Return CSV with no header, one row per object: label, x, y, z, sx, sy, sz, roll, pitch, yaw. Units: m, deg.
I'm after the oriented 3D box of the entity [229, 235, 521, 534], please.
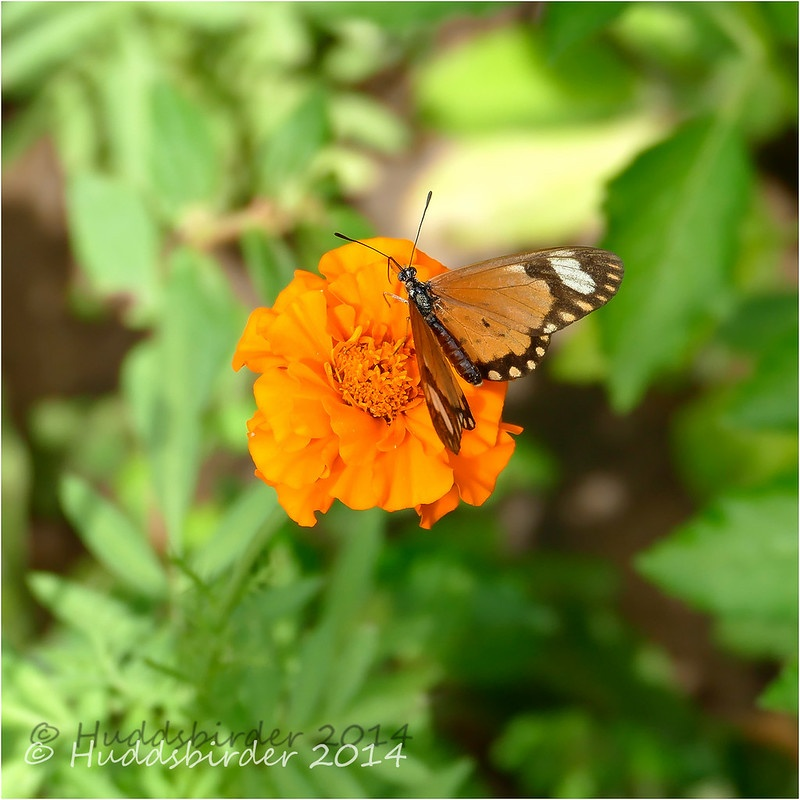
entity,0.001,-0.147,1.339,0.164,0.469,0.441,-24,-75,16
